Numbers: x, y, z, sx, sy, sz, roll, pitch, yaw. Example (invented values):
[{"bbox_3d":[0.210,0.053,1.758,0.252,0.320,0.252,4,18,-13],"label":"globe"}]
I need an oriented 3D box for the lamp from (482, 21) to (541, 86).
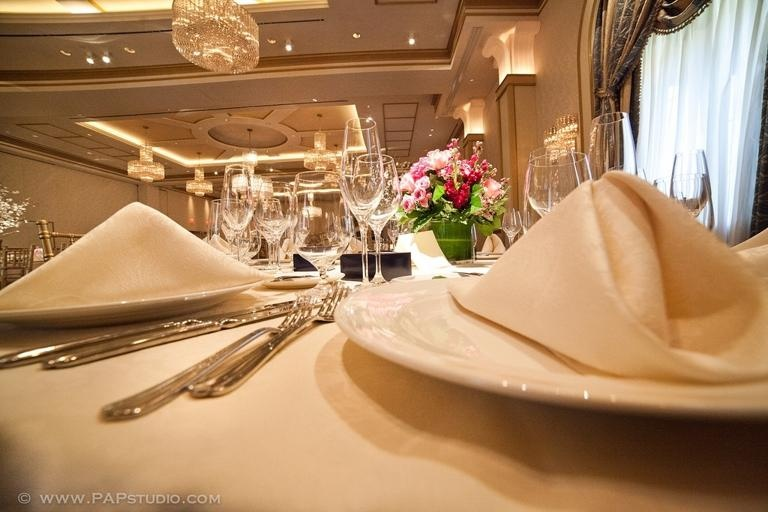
[{"bbox_3d":[1.034,-1.634,3.677,0.359,0.367,0.355,-1,7,8],"label":"lamp"}]

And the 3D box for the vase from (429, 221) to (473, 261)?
[{"bbox_3d":[0.189,-0.041,1.251,0.100,0.108,0.100,-5,1,16],"label":"vase"}]

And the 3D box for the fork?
[{"bbox_3d":[-0.126,0.071,0.504,0.071,0.026,0.296,1,11,20],"label":"fork"}]

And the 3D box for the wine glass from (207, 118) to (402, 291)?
[{"bbox_3d":[-0.056,-0.097,0.850,0.151,0.299,0.253,0,4,16],"label":"wine glass"}]

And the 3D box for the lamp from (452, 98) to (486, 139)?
[{"bbox_3d":[0.986,-1.543,5.111,0.205,0.385,0.514,-2,4,-9],"label":"lamp"}]

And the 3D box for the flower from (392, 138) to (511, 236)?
[{"bbox_3d":[0.177,-0.203,1.283,0.252,0.196,0.263,-3,10,-12],"label":"flower"}]
